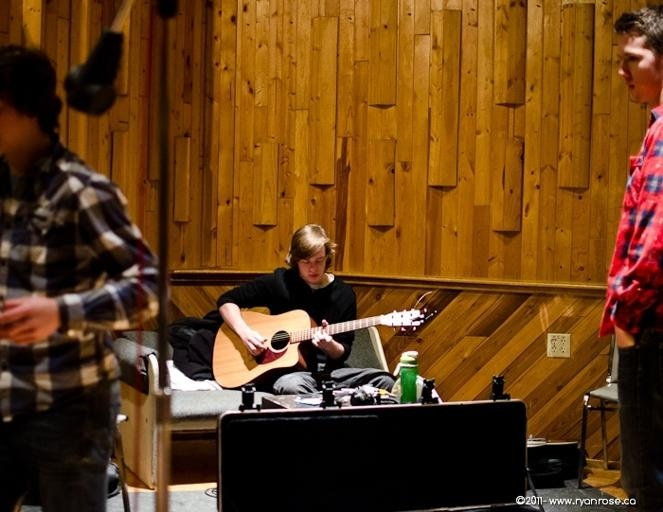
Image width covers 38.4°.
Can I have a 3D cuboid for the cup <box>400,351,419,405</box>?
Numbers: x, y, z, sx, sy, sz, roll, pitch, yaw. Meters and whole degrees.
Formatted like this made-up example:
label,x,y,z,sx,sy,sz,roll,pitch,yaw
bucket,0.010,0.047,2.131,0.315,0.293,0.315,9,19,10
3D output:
label,x,y,z,sx,sy,sz,roll,pitch,yaw
cup,0.332,0.541,4.135,0.080,0.228,0.180,2,10,5
